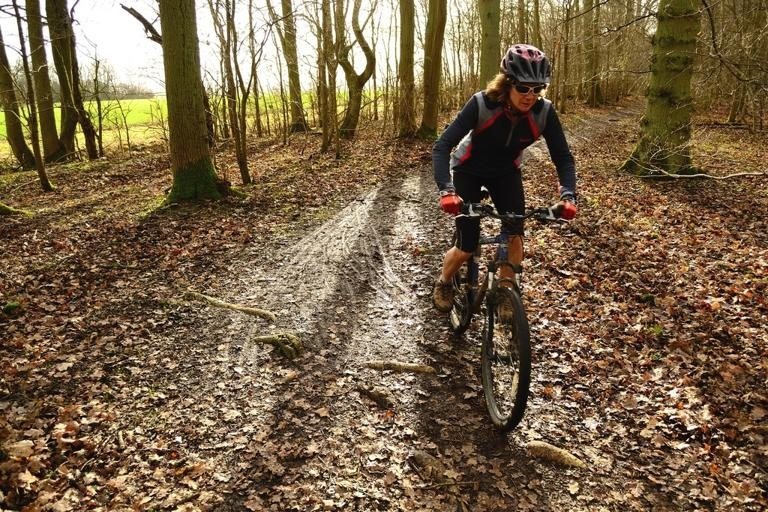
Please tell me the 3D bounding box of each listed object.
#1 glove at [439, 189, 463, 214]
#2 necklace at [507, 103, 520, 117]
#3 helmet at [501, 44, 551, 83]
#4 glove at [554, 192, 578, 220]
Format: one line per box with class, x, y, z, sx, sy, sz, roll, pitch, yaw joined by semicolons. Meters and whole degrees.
glove;0.968;-0.730;8.183;0.338;0.346;0.255;-5;20;-6
necklace;1.829;-2.046;8.179;0.164;0.122;0.163;-4;8;-30
helmet;1.956;-2.649;8.021;0.460;0.291;0.675;0;35;-5
glove;2.521;-0.687;8.090;0.297;0.307;0.342;2;21;14
